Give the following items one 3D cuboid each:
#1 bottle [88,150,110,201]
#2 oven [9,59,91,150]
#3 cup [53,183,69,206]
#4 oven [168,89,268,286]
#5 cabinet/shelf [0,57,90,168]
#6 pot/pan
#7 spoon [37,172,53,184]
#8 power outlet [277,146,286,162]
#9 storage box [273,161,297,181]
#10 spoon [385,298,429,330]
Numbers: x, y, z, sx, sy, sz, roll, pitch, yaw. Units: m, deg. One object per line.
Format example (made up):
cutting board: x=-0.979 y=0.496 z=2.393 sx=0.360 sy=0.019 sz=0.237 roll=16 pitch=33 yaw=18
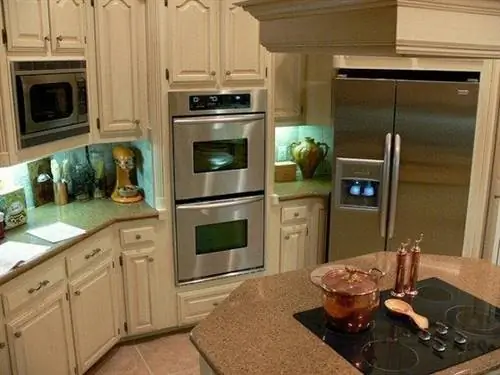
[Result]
bottle: x=-1.375 y=-0.110 z=3.562 sx=0.138 sy=0.391 sz=0.276 roll=-7 pitch=15 yaw=-20
oven: x=-1.437 y=-0.604 z=2.725 sx=0.275 sy=0.529 sz=0.613 roll=11 pitch=19 yaw=19
cup: x=-1.625 y=0.053 z=3.348 sx=0.120 sy=0.205 sz=0.088 roll=-7 pitch=15 yaw=-22
oven: x=-0.084 y=0.035 z=3.589 sx=0.920 sy=1.694 sz=0.839 roll=-7 pitch=-8 yaw=25
cabinet/shelf: x=-1.376 y=-0.531 z=2.627 sx=0.382 sy=0.519 sz=0.692 roll=7 pitch=18 yaw=19
pot/pan: x=0.434 y=0.484 z=1.822 sx=0.288 sy=0.221 sz=0.317 roll=-11 pitch=22 yaw=-18
spoon: x=-1.754 y=-0.071 z=3.337 sx=0.066 sy=0.055 sz=0.102 roll=0 pitch=-1 yaw=13
power outlet: x=0.356 y=-0.367 z=4.320 sx=0.119 sy=0.158 sz=0.025 roll=-9 pitch=15 yaw=-27
storage box: x=0.362 y=-0.149 z=4.013 sx=0.194 sy=0.148 sz=0.197 roll=-5 pitch=22 yaw=-13
spoon: x=0.746 y=0.600 z=1.882 sx=0.078 sy=0.036 sz=0.200 roll=-13 pitch=18 yaw=-15
